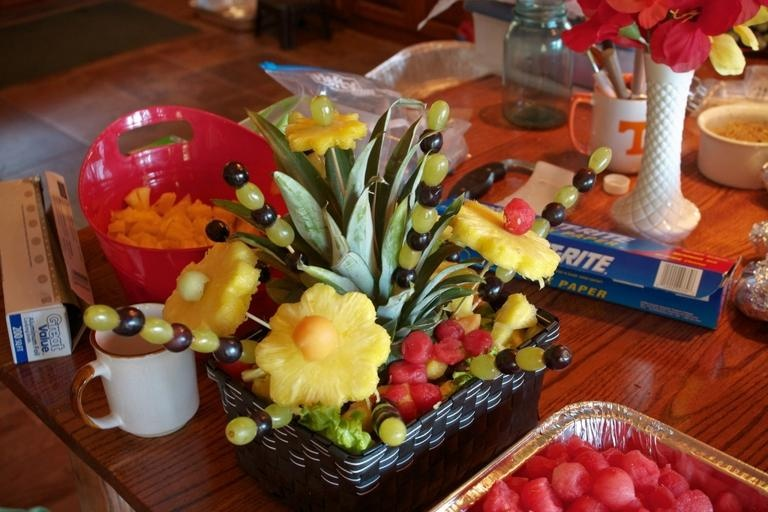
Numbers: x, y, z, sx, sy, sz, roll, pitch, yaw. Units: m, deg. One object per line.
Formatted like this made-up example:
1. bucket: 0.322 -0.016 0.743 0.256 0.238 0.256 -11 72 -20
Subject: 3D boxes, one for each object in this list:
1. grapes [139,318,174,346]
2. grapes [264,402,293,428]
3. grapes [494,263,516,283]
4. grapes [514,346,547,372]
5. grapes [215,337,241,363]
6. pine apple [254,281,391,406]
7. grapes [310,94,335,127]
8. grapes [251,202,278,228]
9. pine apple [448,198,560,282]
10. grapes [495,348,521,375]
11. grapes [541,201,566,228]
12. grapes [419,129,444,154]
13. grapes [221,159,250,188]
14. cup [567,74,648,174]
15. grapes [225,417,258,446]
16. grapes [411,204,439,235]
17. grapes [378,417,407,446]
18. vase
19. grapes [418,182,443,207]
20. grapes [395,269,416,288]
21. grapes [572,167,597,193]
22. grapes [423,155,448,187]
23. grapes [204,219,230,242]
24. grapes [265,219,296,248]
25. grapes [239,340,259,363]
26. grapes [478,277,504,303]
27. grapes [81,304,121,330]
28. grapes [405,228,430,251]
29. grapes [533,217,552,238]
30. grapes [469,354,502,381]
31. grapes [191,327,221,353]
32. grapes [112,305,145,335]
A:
1. grapes: -0.247 0.079 0.674 0.020 0.024 0.034 -4 -10 41
2. grapes: -0.122 0.187 0.727 0.027 0.020 0.036 11 15 16
3. grapes: 0.161 0.023 0.817 0.017 0.046 0.018 -22 78 -14
4. grapes: 0.173 0.121 0.722 0.031 0.024 0.024 2 62 35
5. grapes: -0.182 0.110 0.724 0.020 0.023 0.020 28 57 12
6. pine apple: -0.069 0.104 0.707 0.151 0.107 0.096 4 40 0
7. grapes: -0.066 -0.165 0.720 0.027 0.021 0.035 29 48 -32
8. grapes: -0.137 -0.046 0.723 0.029 0.022 0.023 -2 36 1
9. pine apple: 0.146 -0.017 0.762 0.100 0.103 0.136 -11 30 -25
10. grapes: 0.149 0.125 0.736 0.013 0.026 0.026 2 27 36
11. grapes: 0.234 -0.053 0.849 0.026 0.027 0.034 -9 30 39
12. grapes: 0.058 -0.133 0.737 0.028 0.035 0.029 0 3 -13
13. grapes: -0.171 -0.095 0.709 0.024 0.033 0.025 -5 10 -12
14. cup: 0.459 -0.312 1.420 0.227 0.234 0.148 -5 21 9
15. grapes: -0.165 0.198 0.717 0.028 0.029 0.036 11 3 35
16. grapes: 0.048 -0.043 0.717 0.029 0.036 0.030 11 9 22
17. grapes: 0.012 0.195 0.688 0.024 0.025 0.033 -3 -1 -5
18. vase: 0.536 -0.186 1.154 0.135 0.333 0.123 27 45 36
19. grapes: 0.055 -0.071 0.714 0.025 0.026 0.027 2 1 14
20. grapes: 0.027 0.026 0.740 0.022 0.023 0.030 21 -12 -8
21. grapes: 0.280 -0.098 0.849 0.027 0.036 0.021 22 -1 32
22. grapes: 0.062 -0.098 0.729 0.028 0.041 0.046 5 40 1
23. grapes: -0.219 -0.032 0.823 0.026 0.034 0.026 -11 -15 6
24. grapes: -0.122 -0.028 0.742 0.021 0.022 0.046 12 29 -45
25. grapes: -0.167 0.118 0.778 0.027 0.033 0.028 0 2 -2
26. grapes: 0.147 0.053 0.873 0.028 0.036 0.028 62 15 24
27. grapes: -0.305 0.066 0.668 0.032 0.025 0.024 -7 -1 25
28. grapes: 0.042 -0.020 0.759 0.024 0.029 0.024 8 35 9
29. grapes: 0.213 -0.035 0.833 0.021 0.029 0.017 23 -13 2
30. grapes: 0.126 0.136 0.752 0.034 0.028 0.020 4 7 27
31. grapes: -0.201 0.097 0.700 0.030 0.021 0.018 5 4 -12
32. grapes: -0.269 0.070 0.652 0.026 0.031 0.017 24 36 -2
